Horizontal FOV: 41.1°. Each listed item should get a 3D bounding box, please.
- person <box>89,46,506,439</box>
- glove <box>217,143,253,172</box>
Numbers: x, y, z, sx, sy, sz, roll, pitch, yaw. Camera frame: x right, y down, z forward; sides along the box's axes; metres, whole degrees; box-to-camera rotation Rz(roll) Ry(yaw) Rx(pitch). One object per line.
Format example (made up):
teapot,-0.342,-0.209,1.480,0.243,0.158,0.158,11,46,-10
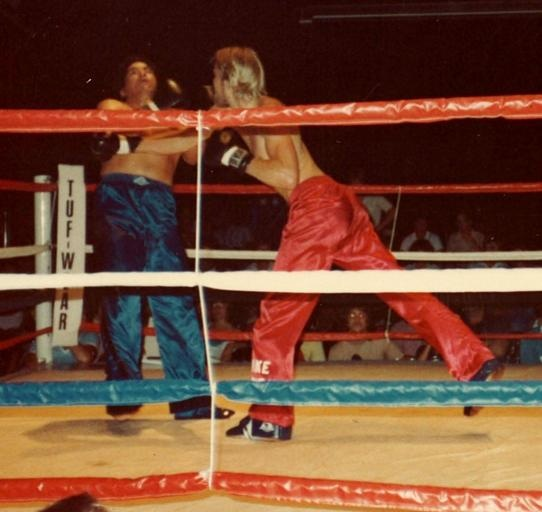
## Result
person,0.186,-0.029,2.881,1.260,1.588,0.533,2,14,12
glove,-0.117,-0.392,2.867,0.122,0.085,0.117,34,-26,-25
